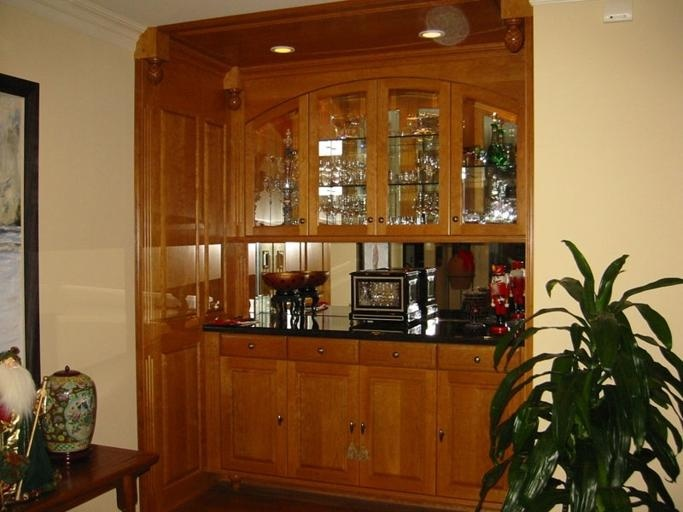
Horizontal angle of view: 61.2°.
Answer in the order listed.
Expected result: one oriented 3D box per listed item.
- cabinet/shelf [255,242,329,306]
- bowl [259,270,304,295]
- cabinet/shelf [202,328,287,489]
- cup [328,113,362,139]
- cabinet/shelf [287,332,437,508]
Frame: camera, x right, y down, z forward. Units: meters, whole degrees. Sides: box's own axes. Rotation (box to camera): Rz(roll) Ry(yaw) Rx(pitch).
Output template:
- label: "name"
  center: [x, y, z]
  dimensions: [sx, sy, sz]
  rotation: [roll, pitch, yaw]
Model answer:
- label: "cabinet/shelf"
  center: [-0.364, 0.147, 4.480]
  dimensions: [0.487, 0.493, 0.477]
  rotation: [-1, -2, 14]
- label: "bowl"
  center: [-0.437, 0.187, 4.271]
  dimensions: [0.206, 0.108, 0.208]
  rotation: [-1, -1, 0]
- label: "cabinet/shelf"
  center: [-0.662, 1.044, 4.120]
  dimensions: [0.548, 0.954, 0.479]
  rotation: [2, -10, -14]
- label: "cup"
  center: [0.030, -0.917, 4.103]
  dimensions: [0.171, 0.155, 0.217]
  rotation: [-1, 3, 40]
- label: "cabinet/shelf"
  center: [0.071, 1.068, 3.837]
  dimensions: [1.046, 0.952, 0.368]
  rotation: [9, -23, -16]
